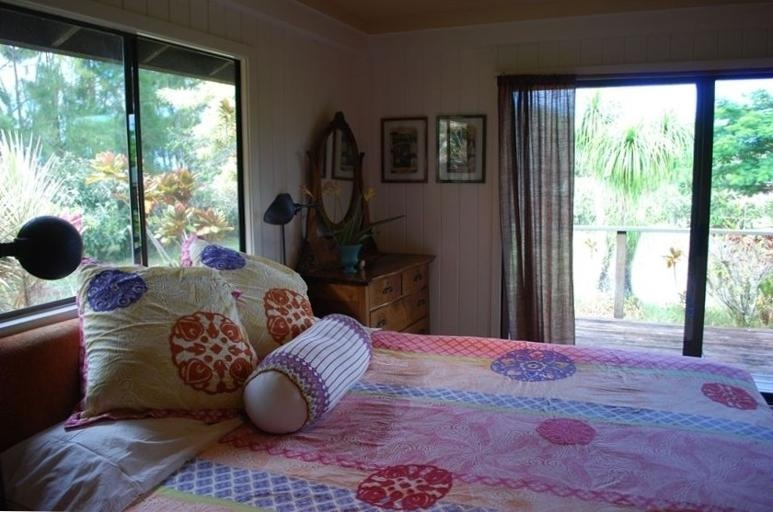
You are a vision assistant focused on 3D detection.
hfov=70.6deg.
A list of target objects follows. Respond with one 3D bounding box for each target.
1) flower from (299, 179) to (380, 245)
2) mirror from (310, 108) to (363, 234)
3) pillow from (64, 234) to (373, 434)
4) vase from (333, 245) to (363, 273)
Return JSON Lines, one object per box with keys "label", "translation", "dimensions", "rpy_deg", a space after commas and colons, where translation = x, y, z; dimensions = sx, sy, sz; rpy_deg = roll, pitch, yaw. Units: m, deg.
{"label": "flower", "translation": [-0.293, -0.305, 4.182], "dimensions": [0.516, 0.506, 0.532], "rpy_deg": [4, 14, 39]}
{"label": "mirror", "translation": [-0.404, -0.641, 4.162], "dimensions": [0.064, 1.177, 0.962], "rpy_deg": [4, 7, 26]}
{"label": "pillow", "translation": [-0.732, 0.398, 2.362], "dimensions": [0.874, 0.301, 0.892], "rpy_deg": [18, 26, 2]}
{"label": "vase", "translation": [-0.281, 0.003, 3.903], "dimensions": [0.196, 0.200, 0.185], "rpy_deg": [-4, 11, -16]}
